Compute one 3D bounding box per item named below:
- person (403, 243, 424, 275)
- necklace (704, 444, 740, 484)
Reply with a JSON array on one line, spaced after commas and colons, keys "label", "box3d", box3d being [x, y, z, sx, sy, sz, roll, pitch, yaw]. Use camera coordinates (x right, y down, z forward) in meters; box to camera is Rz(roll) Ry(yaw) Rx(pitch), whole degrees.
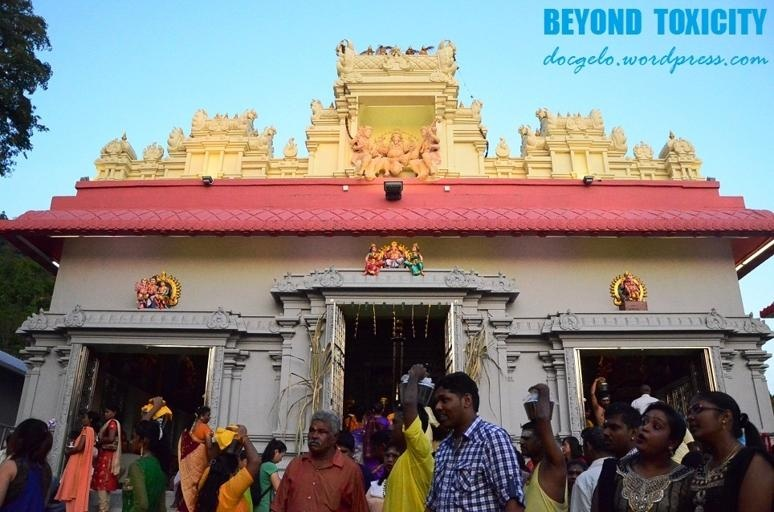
[{"label": "person", "box3d": [0.612, 0.081, 11.969, 0.288, 0.762, 0.420, 18, -25, -39]}, {"label": "necklace", "box3d": [2.546, 1.570, 4.177, 0.106, 0.275, 0.207, 47, -21, 2]}]
